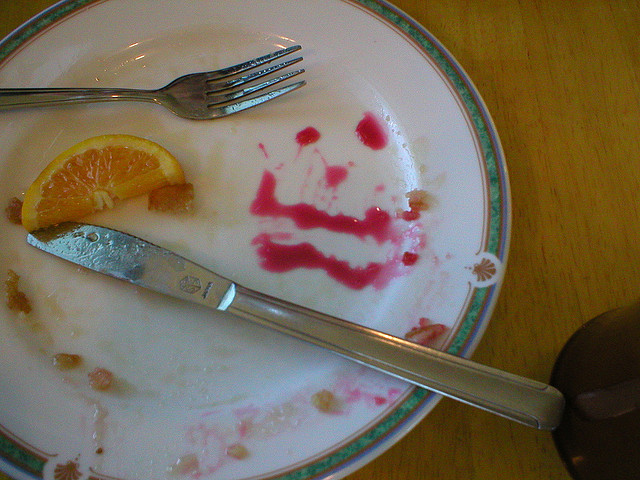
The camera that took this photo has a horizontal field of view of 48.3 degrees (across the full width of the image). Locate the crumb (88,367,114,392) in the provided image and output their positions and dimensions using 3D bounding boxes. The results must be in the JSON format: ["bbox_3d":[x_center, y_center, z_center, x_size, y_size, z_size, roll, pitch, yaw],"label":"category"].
[{"bbox_3d":[-0.535,0.346,1.759,0.043,0.017,0.058,30,75,5],"label":"crumb"}]

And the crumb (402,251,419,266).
[{"bbox_3d":[0.231,0.051,1.856,0.031,0.007,0.035,-6,69,20],"label":"crumb"}]

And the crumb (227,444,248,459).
[{"bbox_3d":[-0.196,0.509,1.710,0.048,0.012,0.027,18,42,13],"label":"crumb"}]

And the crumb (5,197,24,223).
[{"bbox_3d":[-0.789,-0.075,1.852,0.044,0.013,0.058,4,82,-4],"label":"crumb"}]

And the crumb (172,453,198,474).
[{"bbox_3d":[-0.317,0.535,1.704,0.036,0.011,0.046,41,71,17],"label":"crumb"}]
